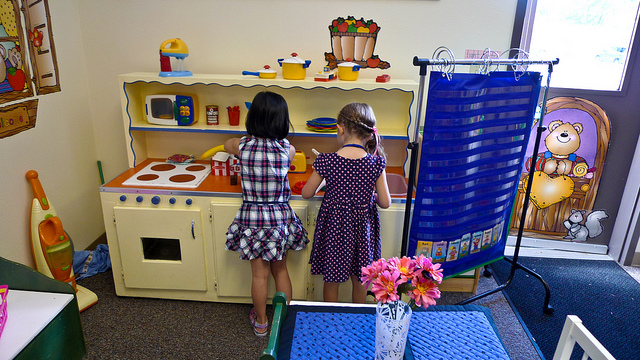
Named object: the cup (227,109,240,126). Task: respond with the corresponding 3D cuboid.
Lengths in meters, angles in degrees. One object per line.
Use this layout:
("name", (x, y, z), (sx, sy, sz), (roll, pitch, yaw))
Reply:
("cup", (-0.846, -0.628, 4.114), (0.157, 0.151, 0.143), (-1, 23, 0))

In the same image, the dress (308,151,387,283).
("dress", (0.220, 0.333, 3.415), (0.579, 1.098, 0.223), (2, 21, 2))

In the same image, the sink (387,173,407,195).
("sink", (0.733, 0.038, 3.902), (0.174, 0.098, 0.388), (4, 18, 7))

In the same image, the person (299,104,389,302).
("person", (0.250, 0.377, 3.692), (0.823, 1.937, 0.670), (2, 14, 3))

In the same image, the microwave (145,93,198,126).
("microwave", (-1.464, -0.710, 4.130), (0.499, 0.294, 0.282), (4, 17, 11))

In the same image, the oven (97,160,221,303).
("oven", (-1.406, 0.528, 4.198), (1.140, 1.090, 0.914), (2, 14, 8))

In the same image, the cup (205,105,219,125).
("cup", (-1.069, -0.643, 4.072), (0.118, 0.179, 0.087), (-3, 21, -13))
